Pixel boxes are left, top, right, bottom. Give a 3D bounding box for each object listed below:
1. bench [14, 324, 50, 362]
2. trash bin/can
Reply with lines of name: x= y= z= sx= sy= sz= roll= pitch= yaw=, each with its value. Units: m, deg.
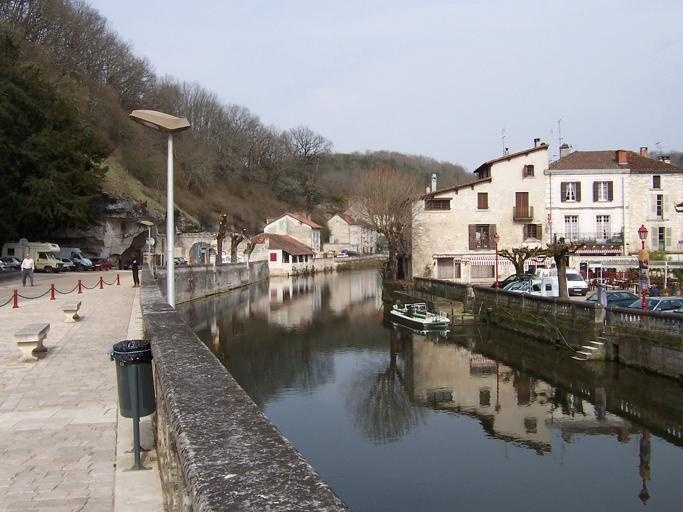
bench: x=-6.491 y=1.799 z=13.203 sx=0.503 sy=0.647 sz=0.834 roll=-4 pitch=5 yaw=-16
trash bin/can: x=-2.756 y=2.003 z=8.447 sx=0.573 sy=1.658 sz=0.476 roll=3 pitch=7 yaw=44
